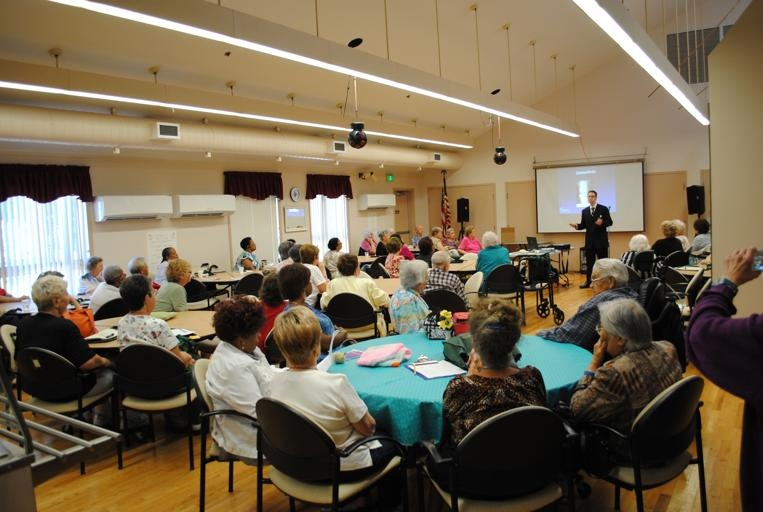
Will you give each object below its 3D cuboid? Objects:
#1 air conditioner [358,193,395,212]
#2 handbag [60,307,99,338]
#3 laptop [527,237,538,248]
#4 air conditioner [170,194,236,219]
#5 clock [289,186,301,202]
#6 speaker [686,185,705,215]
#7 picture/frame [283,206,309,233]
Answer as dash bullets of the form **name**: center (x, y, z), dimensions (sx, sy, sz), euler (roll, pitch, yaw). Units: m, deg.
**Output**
- **air conditioner**: center (-0.128, -1.396, 14.008), dimensions (0.476, 0.429, 0.966), euler (0, 4, 33)
- **handbag**: center (-2.769, 0.618, 4.924), dimensions (0.156, 0.292, 0.257), euler (-24, 0, -3)
- **laptop**: center (3.104, -0.275, 11.055), dimensions (0.197, 0.199, 0.285), euler (-1, 3, -17)
- **air conditioner**: center (-3.366, -0.961, 10.264), dimensions (0.241, 0.419, 1.188), euler (1, 4, 39)
- **clock**: center (-1.946, -1.390, 12.150), dimensions (0.073, 0.336, 0.326), euler (0, 4, 31)
- **speaker**: center (6.689, -1.180, 11.410), dimensions (0.564, 0.635, 0.280), euler (-5, 4, -44)
- **picture/frame**: center (-1.967, -0.835, 12.150), dimensions (0.060, 0.467, 0.622), euler (-1, 1, 33)
